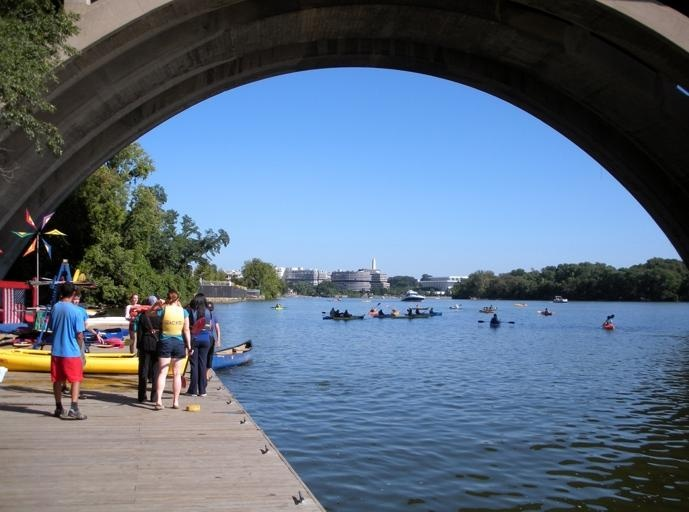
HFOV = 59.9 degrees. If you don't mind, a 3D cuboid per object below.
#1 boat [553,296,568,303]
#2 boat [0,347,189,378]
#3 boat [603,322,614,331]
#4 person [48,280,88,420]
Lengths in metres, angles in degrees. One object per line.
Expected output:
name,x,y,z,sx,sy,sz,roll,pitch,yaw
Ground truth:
boat,54.527,10.996,151.014,5.479,1.909,1.579,-1,4,-23
boat,-7.039,3.013,16.694,4.512,0.796,1.274,6,-12,-10
boat,25.992,6.971,58.934,1.062,0.428,1.188,-1,0,1
person,-6.328,2.170,13.566,0.701,3.056,0.840,3,-6,-26
